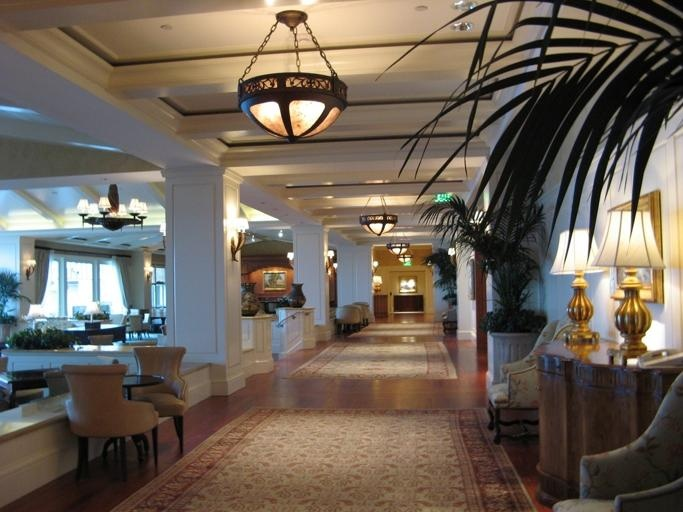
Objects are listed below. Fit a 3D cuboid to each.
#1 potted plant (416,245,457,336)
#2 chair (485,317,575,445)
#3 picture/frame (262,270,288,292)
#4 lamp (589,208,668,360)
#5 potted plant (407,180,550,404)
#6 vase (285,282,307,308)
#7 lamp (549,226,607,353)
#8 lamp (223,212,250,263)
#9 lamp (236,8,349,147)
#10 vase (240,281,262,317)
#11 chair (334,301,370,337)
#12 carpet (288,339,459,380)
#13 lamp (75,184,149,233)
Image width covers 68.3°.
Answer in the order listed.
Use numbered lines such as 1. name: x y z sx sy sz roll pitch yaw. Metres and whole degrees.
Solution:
1. potted plant: 4.147 1.380 19.702 1.854 3.177 2.073 -2 13 28
2. chair: 1.977 1.304 5.289 0.774 1.035 0.747 0 -2 11
3. picture/frame: -3.055 1.185 23.200 0.982 0.735 0.070 0 -2 2
4. lamp: 1.989 0.183 3.408 0.475 0.898 0.457 -1 -3 -26
5. potted plant: 2.273 0.573 7.256 2.006 2.650 1.842 -4 -3 -9
6. vase: -1.142 1.030 13.059 0.591 0.741 0.579 0 -8 -2
7. lamp: 2.192 0.280 4.530 0.503 0.954 0.494 -4 -6 14
8. lamp: -1.673 -0.262 8.229 0.340 0.757 0.326 -5 -10 43
9. lamp: -0.413 -1.550 4.428 0.938 1.081 0.923 3 5 11
10. vase: -1.890 0.852 10.048 0.483 0.647 0.491 5 2 -11
11. chair: 0.374 2.184 17.413 1.014 1.128 1.037 0 4 11
12. carpet: 0.678 2.227 10.673 2.630 0.027 4.180 -3 -3 14
13. lamp: -4.151 -0.930 9.178 0.986 0.976 1.078 -3 -2 -11
